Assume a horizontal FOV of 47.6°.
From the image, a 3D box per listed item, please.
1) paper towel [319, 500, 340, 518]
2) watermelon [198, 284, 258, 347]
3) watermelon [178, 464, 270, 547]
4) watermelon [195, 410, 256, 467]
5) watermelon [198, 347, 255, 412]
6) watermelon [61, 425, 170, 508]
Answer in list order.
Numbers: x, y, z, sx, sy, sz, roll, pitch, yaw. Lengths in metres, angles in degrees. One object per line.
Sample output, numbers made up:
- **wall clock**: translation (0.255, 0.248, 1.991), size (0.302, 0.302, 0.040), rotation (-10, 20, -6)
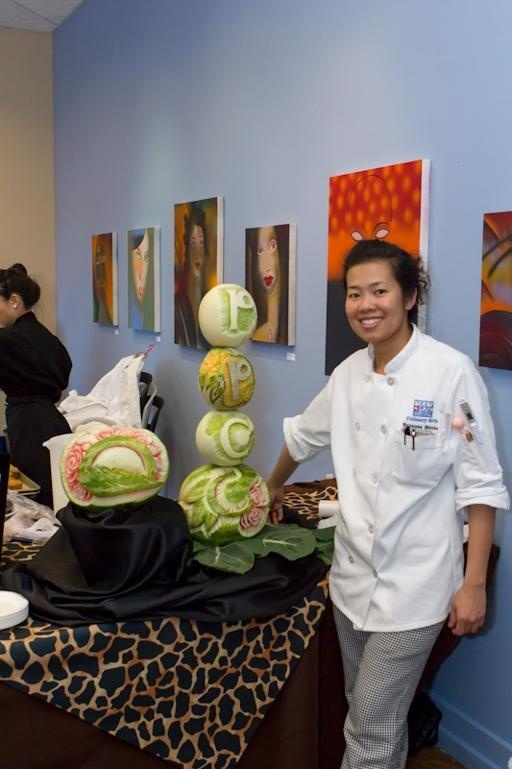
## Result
- **paper towel**: translation (0.198, 0.324, 1.544), size (0.066, 0.059, 0.052), rotation (2, 5, 9)
- **watermelon**: translation (-0.070, -0.154, 1.329), size (0.138, 0.163, 0.136), rotation (0, 3, 43)
- **watermelon**: translation (-0.071, 0.259, 1.256), size (0.194, 0.152, 0.134), rotation (3, 7, 0)
- **watermelon**: translation (-0.069, 0.118, 1.268), size (0.117, 0.109, 0.077), rotation (2, 7, -4)
- **watermelon**: translation (-0.067, -0.011, 1.295), size (0.118, 0.139, 0.088), rotation (2, 7, -9)
- **watermelon**: translation (-0.277, 0.141, 1.128), size (0.189, 0.157, 0.139), rotation (-9, 18, -41)
